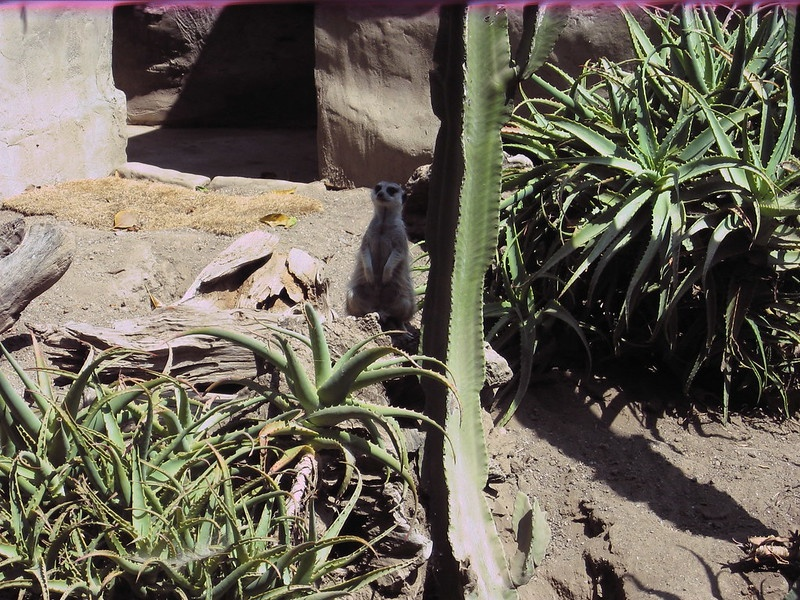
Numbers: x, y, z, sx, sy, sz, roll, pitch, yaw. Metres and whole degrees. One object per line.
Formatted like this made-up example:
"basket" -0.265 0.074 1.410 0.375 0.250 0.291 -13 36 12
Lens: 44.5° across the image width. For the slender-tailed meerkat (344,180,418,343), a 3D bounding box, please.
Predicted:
"slender-tailed meerkat" -0.090 -0.175 5.066 0.297 0.867 0.349 3 0 1
